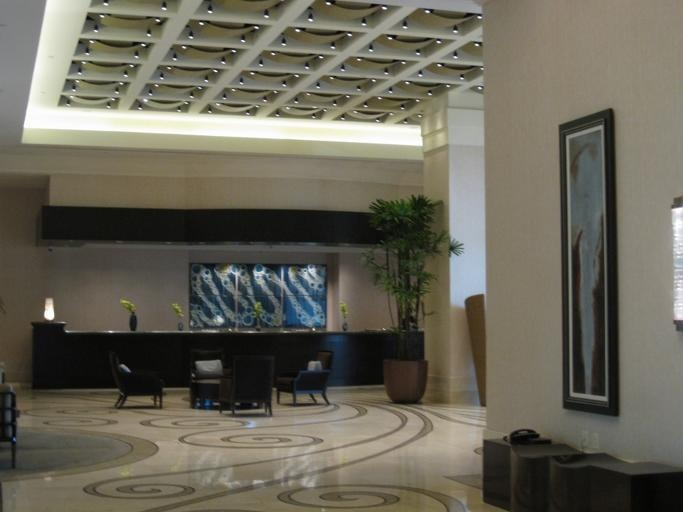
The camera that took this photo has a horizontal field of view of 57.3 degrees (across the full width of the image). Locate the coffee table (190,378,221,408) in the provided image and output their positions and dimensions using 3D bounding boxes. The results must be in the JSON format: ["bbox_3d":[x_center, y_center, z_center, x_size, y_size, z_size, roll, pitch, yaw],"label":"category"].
[{"bbox_3d":[-2.665,2.606,12.239,0.691,0.794,0.702,1,-3,-16],"label":"coffee table"}]

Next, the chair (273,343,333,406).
[{"bbox_3d":[-0.799,2.425,13.285,1.105,1.371,1.005,4,-8,-23],"label":"chair"}]

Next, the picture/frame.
[{"bbox_3d":[2.217,0.055,5.633,0.391,2.188,0.578,-8,2,-29],"label":"picture/frame"}]

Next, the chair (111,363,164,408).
[{"bbox_3d":[-3.976,2.572,12.476,0.993,0.936,0.815,0,-2,-10],"label":"chair"}]
